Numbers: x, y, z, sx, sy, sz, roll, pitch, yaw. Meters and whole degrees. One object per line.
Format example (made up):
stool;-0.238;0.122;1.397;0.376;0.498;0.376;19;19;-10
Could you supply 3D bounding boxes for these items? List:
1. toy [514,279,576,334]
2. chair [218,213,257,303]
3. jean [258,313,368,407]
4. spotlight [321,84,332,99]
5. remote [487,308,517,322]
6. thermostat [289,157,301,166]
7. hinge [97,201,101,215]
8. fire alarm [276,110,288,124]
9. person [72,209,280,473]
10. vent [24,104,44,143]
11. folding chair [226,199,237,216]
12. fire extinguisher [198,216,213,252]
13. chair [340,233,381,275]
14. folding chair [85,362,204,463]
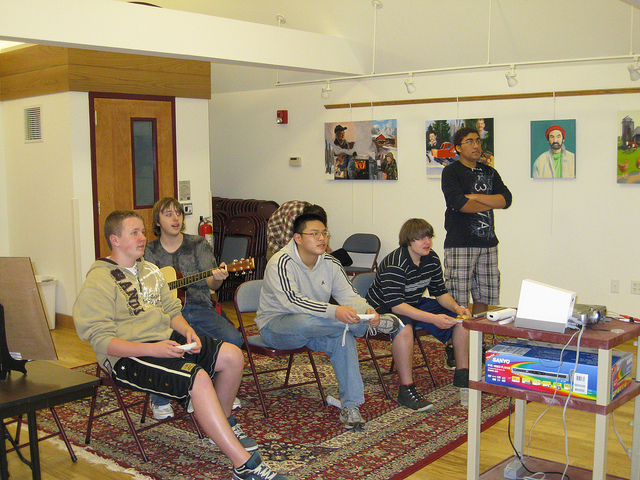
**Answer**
toy;1.115;0.330;2.602;0.271;0.233;0.122;1;8;33
chair;-1.188;0.237;7.217;0.587;1.243;0.267;10;2;16
jean;-0.051;0.779;3.744;0.577;0.771;0.535;-2;3;-37
spotlight;0.064;-1.845;6.514;0.168;0.220;0.220;-1;4;3
remote;0.970;0.391;2.780;0.150;0.038;0.066;-3;3;-45
thermostat;-0.380;-1.211;8.093;0.229;0.164;0.120;1;1;32
hinge;-2.582;-0.366;6.079;0.011;0.147;0.044;-1;7;20
fire alarm;-0.579;-1.905;8.099;0.186;0.274;0.199;2;5;3
person;-0.851;0.578;3.105;0.999;1.511;0.628;-1;7;22
vent;-3.441;-1.398;6.279;0.402;0.429;0.111;-2;5;28
folding chair;-1.463;-0.540;8.401;0.109;0.200;0.290;-2;7;13
fire extinguisher;-1.540;-0.117;6.971;0.184;0.393;0.370;-5;7;-12
chair;0.535;0.193;7.217;0.533;0.712;0.575;1;3;26
folding chair;-1.310;1.076;3.675;0.909;0.655;0.652;3;9;43
